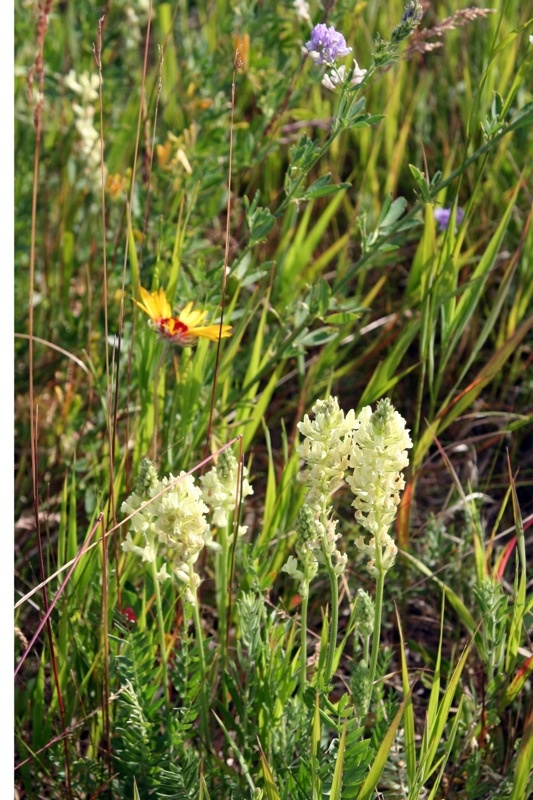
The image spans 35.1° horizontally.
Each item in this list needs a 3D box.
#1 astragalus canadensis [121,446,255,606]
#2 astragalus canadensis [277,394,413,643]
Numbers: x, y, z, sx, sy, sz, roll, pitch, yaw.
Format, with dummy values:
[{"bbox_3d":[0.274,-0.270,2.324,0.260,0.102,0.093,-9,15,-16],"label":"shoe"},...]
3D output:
[{"bbox_3d":[-0.128,0.136,1.110,0.145,0.212,0.222,-2,49,11],"label":"astragalus canadensis"},{"bbox_3d":[0.100,0.137,1.075,0.141,0.376,0.194,9,29,7],"label":"astragalus canadensis"}]
